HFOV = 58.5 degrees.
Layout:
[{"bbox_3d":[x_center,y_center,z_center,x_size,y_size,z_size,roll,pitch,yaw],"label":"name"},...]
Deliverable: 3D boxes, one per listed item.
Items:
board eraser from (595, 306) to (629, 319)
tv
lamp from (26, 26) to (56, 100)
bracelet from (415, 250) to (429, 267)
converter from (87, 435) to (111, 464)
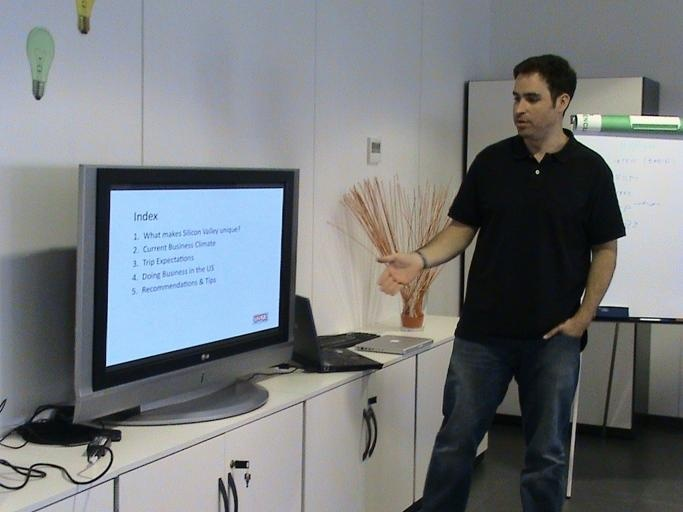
[{"bbox_3d":[1.451,0.296,3.253,0.115,0.040,0.106,1,0,13],"label":"board eraser"},{"bbox_3d":[-0.558,0.133,2.329,0.299,0.937,1.013,7,9,37],"label":"tv"},{"bbox_3d":[-1.026,-0.658,2.084,0.032,0.238,0.090,13,13,33],"label":"lamp"},{"bbox_3d":[0.347,0.009,2.588,0.047,0.068,0.063,-18,2,-21],"label":"bracelet"},{"bbox_3d":[-0.759,0.600,1.902,0.027,0.073,0.051,16,-23,21],"label":"converter"}]
